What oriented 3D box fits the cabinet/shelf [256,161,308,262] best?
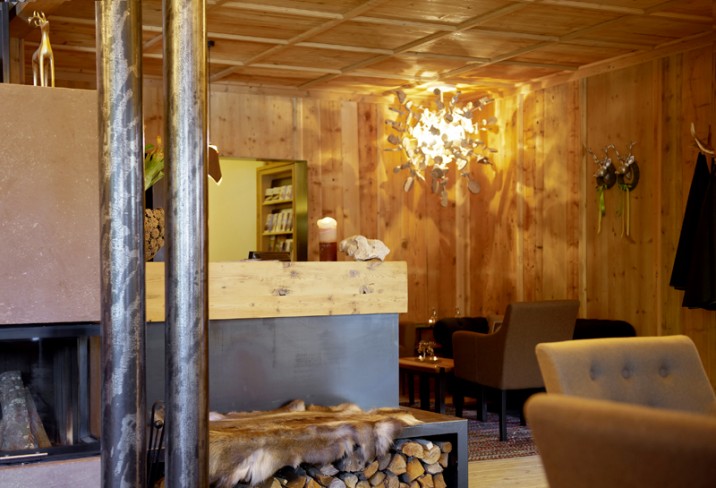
[{"bbox_3d":[-0.891,-0.414,8.318,0.337,1.153,1.317,-1,0,-19],"label":"cabinet/shelf"}]

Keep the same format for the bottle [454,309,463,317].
[{"bbox_3d":[1.167,0.803,8.436,0.083,0.089,0.088,-1,-2,16],"label":"bottle"}]

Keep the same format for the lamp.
[{"bbox_3d":[0.888,-1.074,7.677,1.134,1.246,1.752,-1,0,10],"label":"lamp"}]

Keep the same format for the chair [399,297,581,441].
[{"bbox_3d":[1.265,1.069,6.559,1.062,1.538,1.339,2,-2,-28],"label":"chair"}]
